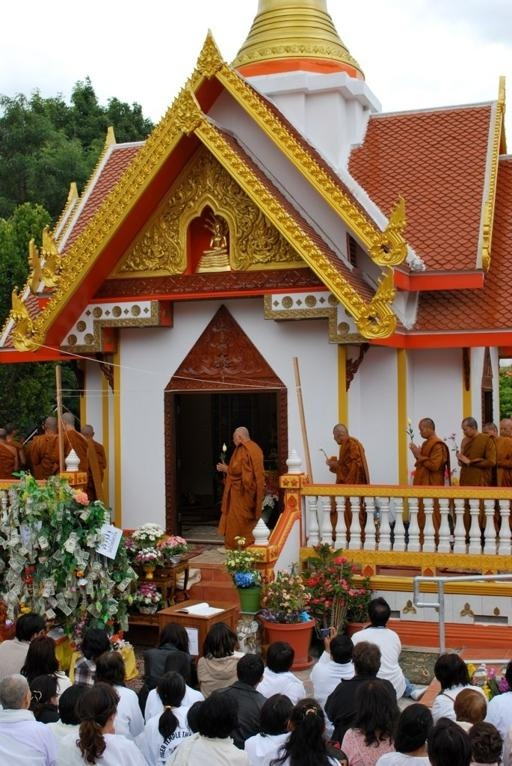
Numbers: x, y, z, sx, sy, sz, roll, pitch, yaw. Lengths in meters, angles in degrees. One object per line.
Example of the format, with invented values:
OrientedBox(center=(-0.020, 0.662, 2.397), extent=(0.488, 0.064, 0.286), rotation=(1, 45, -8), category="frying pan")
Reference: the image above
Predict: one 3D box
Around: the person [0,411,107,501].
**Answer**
OrientedBox(center=(-2.063, 0.828, 11.465), extent=(0.813, 0.994, 1.183), rotation=(3, -7, -21), category="person")

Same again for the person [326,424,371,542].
OrientedBox(center=(0.926, 0.994, 10.311), extent=(0.425, 1.185, 0.972), rotation=(0, -6, 4), category="person")

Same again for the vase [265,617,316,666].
OrientedBox(center=(0.292, 2.301, 8.859), extent=(0.418, 0.407, 0.304), rotation=(1, -6, -2), category="vase")

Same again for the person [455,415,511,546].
OrientedBox(center=(2.298, 0.928, 10.228), extent=(0.515, 1.240, 1.189), rotation=(-1, -6, 11), category="person")

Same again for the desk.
OrientedBox(center=(-0.469, 2.162, 8.752), extent=(0.562, 0.374, 0.528), rotation=(-3, 2, 16), category="desk")

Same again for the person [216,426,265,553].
OrientedBox(center=(-0.154, 1.095, 10.575), extent=(0.451, 1.273, 0.581), rotation=(1, -6, -2), category="person")

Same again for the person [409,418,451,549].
OrientedBox(center=(1.747, 0.964, 10.161), extent=(0.395, 1.250, 1.421), rotation=(-1, -6, 11), category="person")

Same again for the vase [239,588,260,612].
OrientedBox(center=(-0.055, 1.970, 9.169), extent=(0.232, 0.216, 0.214), rotation=(1, -1, 6), category="vase")

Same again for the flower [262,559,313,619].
OrientedBox(center=(0.267, 1.897, 9.048), extent=(0.489, 0.472, 0.389), rotation=(2, -13, -1), category="flower")

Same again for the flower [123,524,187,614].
OrientedBox(center=(-0.965, 1.798, 9.698), extent=(0.825, 0.788, 0.748), rotation=(1, -2, -5), category="flower")
